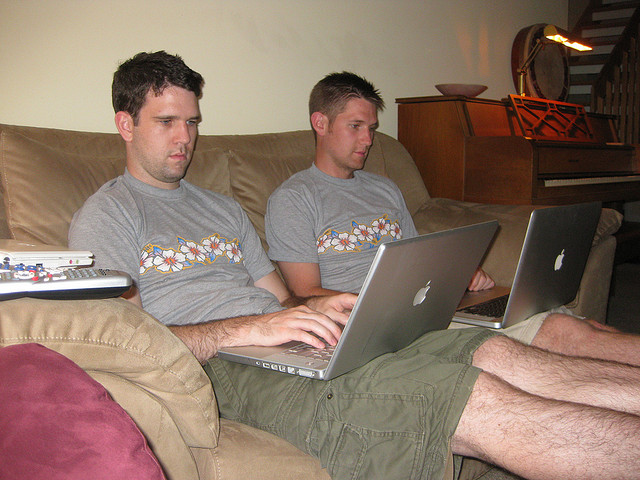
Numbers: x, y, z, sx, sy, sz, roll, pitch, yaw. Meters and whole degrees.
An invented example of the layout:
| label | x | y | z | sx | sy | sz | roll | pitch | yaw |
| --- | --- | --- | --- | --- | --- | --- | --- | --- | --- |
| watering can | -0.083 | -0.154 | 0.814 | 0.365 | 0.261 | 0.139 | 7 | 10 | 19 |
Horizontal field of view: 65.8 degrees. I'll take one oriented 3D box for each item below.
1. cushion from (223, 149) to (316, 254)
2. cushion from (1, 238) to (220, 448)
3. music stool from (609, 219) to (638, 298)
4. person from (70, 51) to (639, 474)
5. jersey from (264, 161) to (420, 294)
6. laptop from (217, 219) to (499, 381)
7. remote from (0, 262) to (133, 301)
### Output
| label | x | y | z | sx | sy | sz | roll | pitch | yaw |
| --- | --- | --- | --- | --- | --- | --- | --- | --- | --- |
| cushion | -0.231 | -0.153 | 1.978 | 0.382 | 0.365 | 0.149 | -1 | -2 | -32 |
| cushion | -0.358 | 0.215 | 0.991 | 0.419 | 0.160 | 0.426 | 22 | 0 | -42 |
| music stool | 2.135 | 0.147 | 3.473 | 0.172 | 0.547 | 0.246 | 17 | 23 | 38 |
| person | 0.088 | 0.026 | 1.645 | 1.796 | 1.127 | 0.833 | 2 | 4 | 26 |
| jersey | 0.105 | -0.048 | 2.021 | 0.658 | 0.513 | 0.337 | -12 | 14 | -27 |
| laptop | 0.133 | 0.123 | 1.197 | 0.463 | 0.295 | 0.506 | 7 | 8 | 38 |
| remote | -0.497 | 0.081 | 0.980 | 0.184 | 0.033 | 0.093 | 6 | 3 | -18 |
